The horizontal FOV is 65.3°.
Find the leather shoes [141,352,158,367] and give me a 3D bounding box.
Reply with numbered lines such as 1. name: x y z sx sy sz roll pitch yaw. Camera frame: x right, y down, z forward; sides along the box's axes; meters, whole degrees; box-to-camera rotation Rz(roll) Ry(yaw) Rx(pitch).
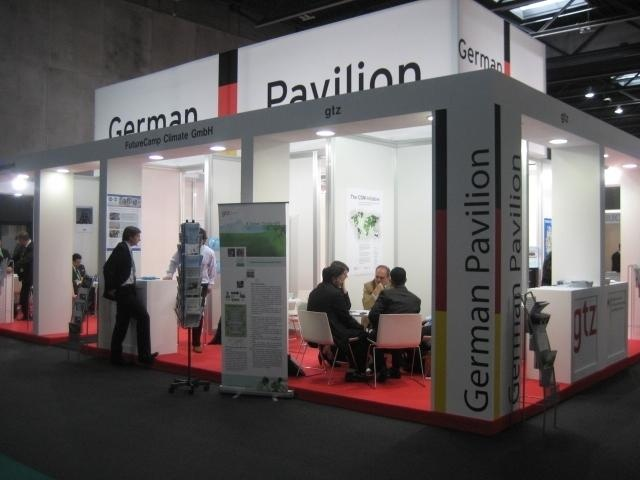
1. leather shoes: -2.482 1.710 7.160 0.145 0.262 0.255 1 -8 9

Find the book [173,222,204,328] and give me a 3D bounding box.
1. book: -1.612 0.426 6.113 0.314 1.289 0.258 -1 1 -2

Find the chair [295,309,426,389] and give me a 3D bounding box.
1. chair: 0.467 1.301 6.046 1.283 0.952 0.823 -1 -5 -1

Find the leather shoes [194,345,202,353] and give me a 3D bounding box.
1. leather shoes: -1.866 1.650 7.609 0.129 0.091 0.216 -1 2 -14

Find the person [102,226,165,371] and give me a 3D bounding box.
1. person: -2.773 0.810 7.262 0.735 2.008 0.546 -1 2 -10

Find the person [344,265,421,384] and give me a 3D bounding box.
1. person: 0.772 1.112 6.349 0.920 2.135 1.032 0 18 0

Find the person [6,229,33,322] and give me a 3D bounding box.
1. person: -6.485 0.764 10.911 0.358 1.863 0.978 -2 2 -32
